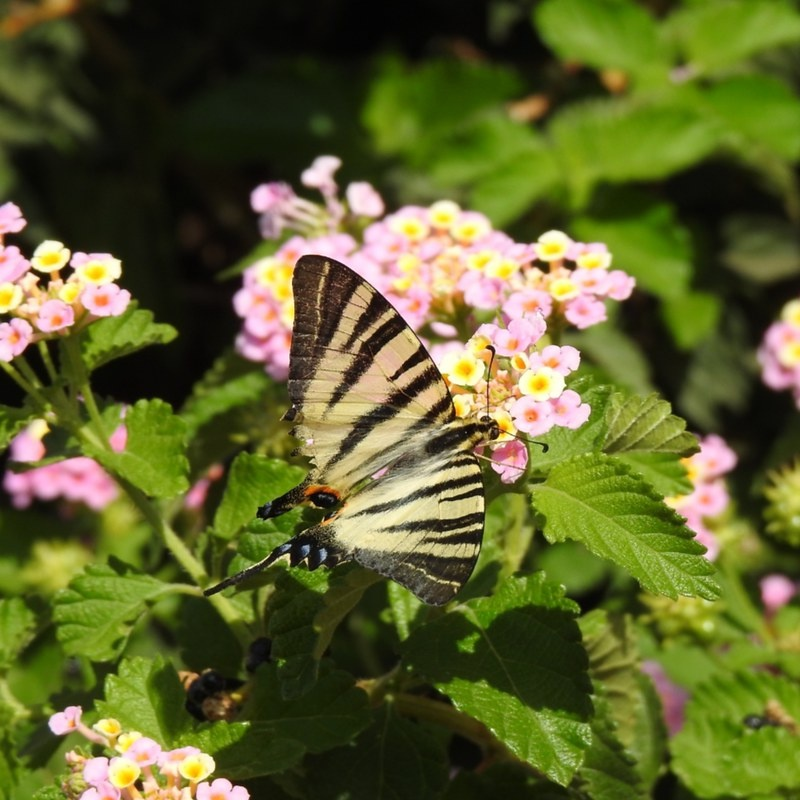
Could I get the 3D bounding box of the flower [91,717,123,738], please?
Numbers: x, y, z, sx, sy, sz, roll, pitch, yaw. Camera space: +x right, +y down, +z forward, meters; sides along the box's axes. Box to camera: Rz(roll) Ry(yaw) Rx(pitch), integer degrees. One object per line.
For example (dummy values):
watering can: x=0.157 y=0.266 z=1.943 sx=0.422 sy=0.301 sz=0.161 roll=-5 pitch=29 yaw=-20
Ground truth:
flower: x=-0.517 y=0.579 z=1.859 sx=0.039 sy=0.045 sz=0.018 roll=24 pitch=93 yaw=50

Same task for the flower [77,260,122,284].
flower: x=-0.566 y=-0.243 z=1.984 sx=0.070 sy=0.021 sz=0.068 roll=29 pitch=35 yaw=23

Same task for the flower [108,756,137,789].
flower: x=-0.463 y=0.622 z=1.754 sx=0.052 sy=0.026 sz=0.047 roll=-13 pitch=61 yaw=-23
